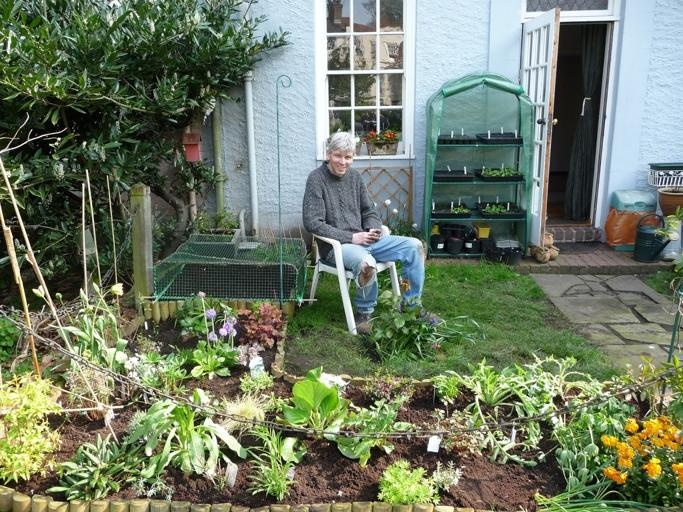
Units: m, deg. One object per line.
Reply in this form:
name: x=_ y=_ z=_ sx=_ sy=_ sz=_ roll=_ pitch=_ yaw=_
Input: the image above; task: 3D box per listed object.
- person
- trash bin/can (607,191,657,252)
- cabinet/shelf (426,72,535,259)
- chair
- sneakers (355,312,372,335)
person: x=0.150 y=-0.230 z=4.669 sx=0.806 sy=1.518 sz=0.792 roll=-5 pitch=15 yaw=-28
trash bin/can: x=3.386 y=-0.397 z=6.496 sx=0.541 sy=0.724 sz=0.447 roll=6 pitch=17 yaw=28
cabinet/shelf: x=1.517 y=-1.004 z=6.272 sx=1.109 sy=1.812 sz=0.601 roll=0 pitch=10 yaw=8
chair: x=0.113 y=0.001 z=4.758 sx=0.814 sy=0.951 sz=0.830 roll=-1 pitch=15 yaw=-4
sneakers: x=0.182 y=0.534 z=4.496 sx=0.097 sy=0.081 sz=0.180 roll=-3 pitch=49 yaw=0
